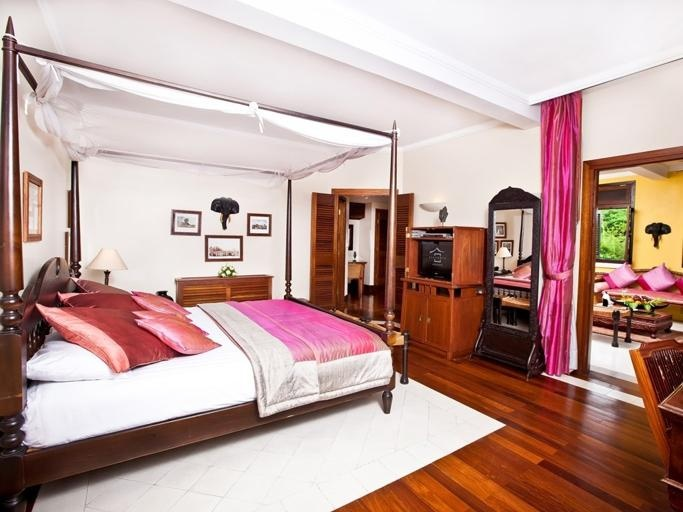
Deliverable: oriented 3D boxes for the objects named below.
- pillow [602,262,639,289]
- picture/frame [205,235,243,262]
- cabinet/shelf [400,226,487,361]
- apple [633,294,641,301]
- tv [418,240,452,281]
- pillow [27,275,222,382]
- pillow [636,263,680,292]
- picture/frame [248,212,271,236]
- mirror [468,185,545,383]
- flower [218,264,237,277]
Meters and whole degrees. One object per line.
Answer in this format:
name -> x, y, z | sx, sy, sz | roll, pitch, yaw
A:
pillow -> 4.911, 0.354, 7.665 | 0.444, 0.446, 0.150 | -40, -31, 16
picture/frame -> -1.866, -0.131, 6.827 | 0.414, 0.307, 0.014 | -1, 1, -29
cabinet/shelf -> 1.432, 0.449, 6.298 | 0.557, 1.730, 1.011 | 0, 3, -29
apple -> 4.570, 0.653, 6.729 | 0.134, 0.049, 0.119 | -7, 4, -36
tv -> 1.338, 0.058, 6.171 | 0.275, 0.469, 0.531 | -3, 6, -29
pillow -> -1.926, 0.632, 3.845 | 1.288, 0.555, 1.174 | -2, 3, -29
pillow -> 5.300, 0.356, 7.330 | 0.526, 0.440, 0.342 | 1, 4, 32
picture/frame -> -1.353, -0.527, 7.103 | 0.389, 0.366, 0.027 | 0, -1, -31
mirror -> 2.133, 0.272, 5.537 | 0.347, 2.300, 0.826 | -3, 4, -38
flower -> -1.754, 0.229, 6.749 | 0.199, 0.139, 0.203 | 3, 6, 25
